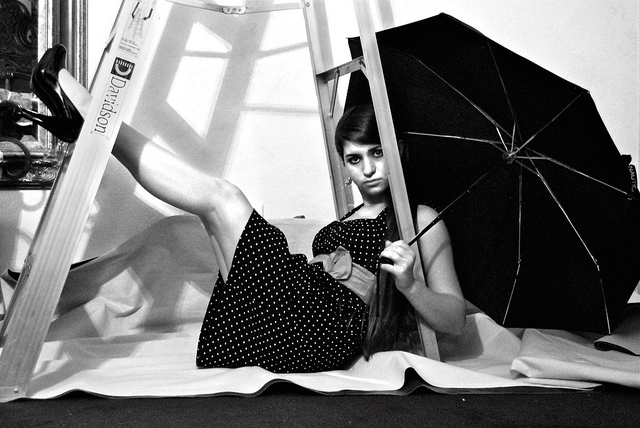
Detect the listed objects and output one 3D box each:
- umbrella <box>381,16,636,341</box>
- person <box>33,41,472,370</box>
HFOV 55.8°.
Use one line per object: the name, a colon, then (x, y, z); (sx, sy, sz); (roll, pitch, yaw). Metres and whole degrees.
umbrella: (0.656, -0.129, 1.980); (1.020, 1.015, 0.366); (-2, 12, 25)
person: (-0.207, 0.025, 2.028); (1.387, 0.962, 0.743); (4, 0, 0)
